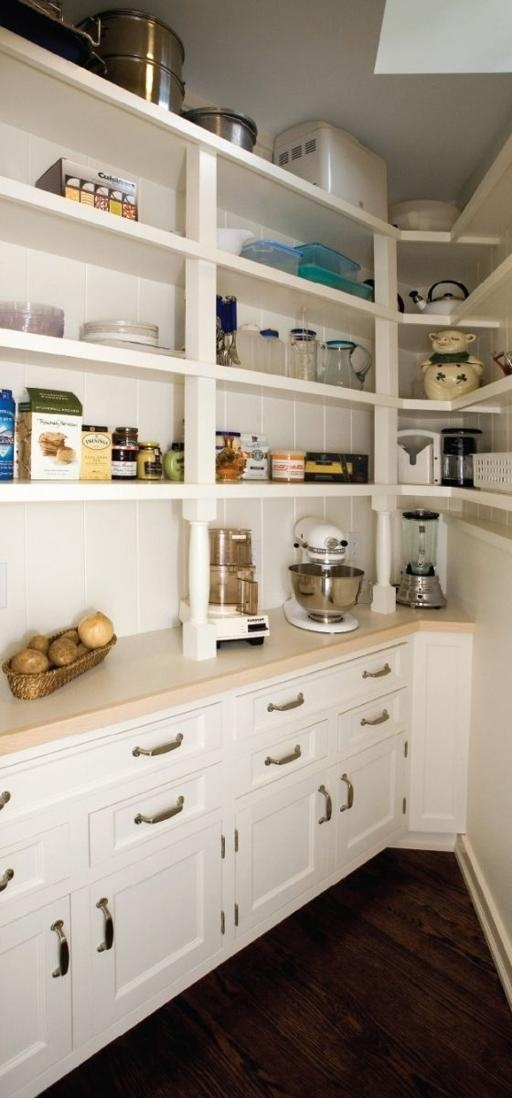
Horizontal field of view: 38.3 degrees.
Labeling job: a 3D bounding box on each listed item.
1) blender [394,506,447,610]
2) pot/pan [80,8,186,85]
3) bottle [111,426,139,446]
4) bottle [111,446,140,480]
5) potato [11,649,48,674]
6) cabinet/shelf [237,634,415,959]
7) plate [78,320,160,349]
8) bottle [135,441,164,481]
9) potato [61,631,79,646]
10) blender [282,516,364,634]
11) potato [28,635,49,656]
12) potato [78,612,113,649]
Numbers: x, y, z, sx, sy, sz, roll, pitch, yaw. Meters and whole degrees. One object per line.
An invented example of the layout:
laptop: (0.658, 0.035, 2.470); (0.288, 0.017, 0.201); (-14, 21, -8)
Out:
blender: (0.551, 0.007, 2.475); (0.153, 0.281, 0.480); (2, 10, 12)
pot/pan: (-0.233, -0.990, 1.439); (0.212, 0.086, 0.091); (-6, 11, -28)
bottle: (-0.285, -0.243, 1.621); (0.041, 0.049, 0.042); (-3, 6, -38)
bottle: (-0.289, -0.188, 1.604); (0.055, 0.071, 0.056); (1, 6, 0)
potato: (-0.423, 0.201, 1.385); (0.037, 0.032, 0.049); (8, 7, -7)
cabinet/shelf: (0.159, 0.612, 1.817); (0.239, 0.722, 0.613); (-1, 0, 42)
plate: (-0.280, -0.441, 1.516); (0.158, 0.052, 0.090); (-3, 10, -16)
bottle: (-0.244, -0.200, 1.689); (0.062, 0.093, 0.069); (0, 3, 14)
potato: (-0.396, 0.188, 1.569); (0.027, 0.017, 0.027); (24, 7, -44)
blender: (0.177, 0.072, 2.022); (0.214, 0.263, 0.256); (1, 9, 9)
potato: (-0.440, 0.188, 1.490); (0.034, 0.053, 0.036); (-3, 2, -38)
potato: (-0.339, 0.167, 1.597); (0.060, 0.092, 0.065); (9, 10, 2)
